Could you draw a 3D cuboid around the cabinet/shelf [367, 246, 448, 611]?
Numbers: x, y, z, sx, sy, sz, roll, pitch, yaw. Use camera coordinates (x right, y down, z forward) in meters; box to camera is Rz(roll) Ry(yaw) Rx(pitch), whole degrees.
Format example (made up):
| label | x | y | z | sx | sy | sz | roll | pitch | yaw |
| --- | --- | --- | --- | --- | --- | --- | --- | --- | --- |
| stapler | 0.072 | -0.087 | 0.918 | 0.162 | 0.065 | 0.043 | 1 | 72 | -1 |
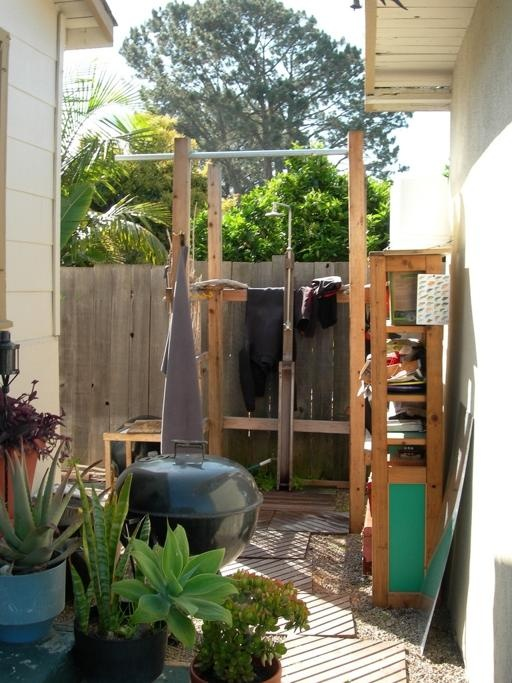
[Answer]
| label | x | y | z | sx | sy | sz | roll | pitch | yaw |
| --- | --- | --- | --- | --- | --- | --- | --- | --- | --- |
| cabinet/shelf | 0.717 | 0.413 | 2.973 | 0.381 | 1.550 | 0.517 | 3 | 0 | 16 |
